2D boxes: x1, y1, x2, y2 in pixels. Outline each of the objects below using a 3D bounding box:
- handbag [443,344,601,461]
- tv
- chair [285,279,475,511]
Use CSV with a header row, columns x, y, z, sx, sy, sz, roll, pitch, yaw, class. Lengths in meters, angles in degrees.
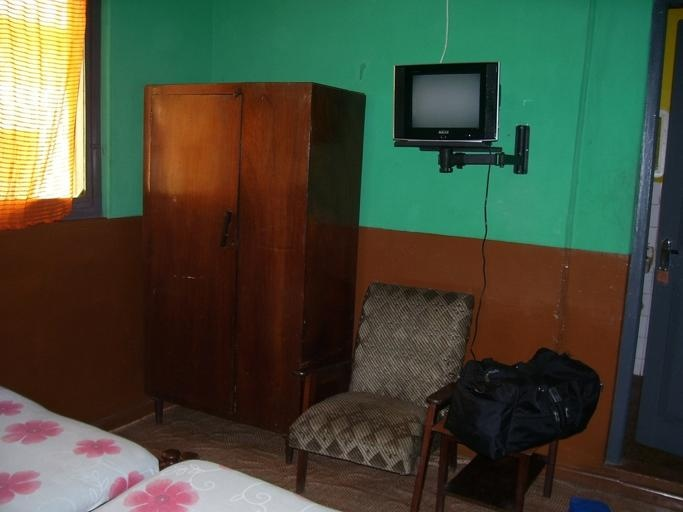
x,y,z,sx,sy,sz,roll,pitch,yaw,class
0.886,0.677,2.766,0.616,0.268,0.449,-5,3,-36,handbag
0.528,-0.760,3.134,0.556,0.427,0.315,0,-1,3,tv
0.231,0.718,3.111,0.620,1.045,1.028,5,3,25,chair
